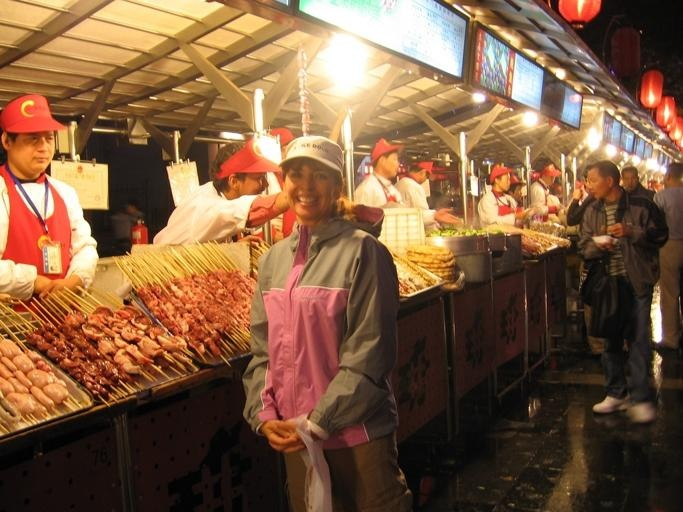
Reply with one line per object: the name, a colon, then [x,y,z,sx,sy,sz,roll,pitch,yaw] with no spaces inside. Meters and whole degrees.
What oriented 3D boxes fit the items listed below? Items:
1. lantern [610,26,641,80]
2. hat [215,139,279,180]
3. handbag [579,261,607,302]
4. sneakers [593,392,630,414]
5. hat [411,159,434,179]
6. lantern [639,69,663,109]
lantern: [6.247,-4.444,11.596,0.533,1.090,0.349,-1,6,24]
hat: [-0.691,-0.670,3.986,0.413,0.192,0.303,-10,3,3]
handbag: [2.545,0.260,5.289,0.141,0.374,0.251,17,-15,-26]
sneakers: [2.686,1.461,5.278,0.327,0.148,0.156,-1,-6,-4]
hat: [1.555,-1.661,10.012,0.329,0.241,0.452,15,2,-11]
lantern: [8.305,-4.469,14.147,0.470,0.973,0.497,0,6,29]
